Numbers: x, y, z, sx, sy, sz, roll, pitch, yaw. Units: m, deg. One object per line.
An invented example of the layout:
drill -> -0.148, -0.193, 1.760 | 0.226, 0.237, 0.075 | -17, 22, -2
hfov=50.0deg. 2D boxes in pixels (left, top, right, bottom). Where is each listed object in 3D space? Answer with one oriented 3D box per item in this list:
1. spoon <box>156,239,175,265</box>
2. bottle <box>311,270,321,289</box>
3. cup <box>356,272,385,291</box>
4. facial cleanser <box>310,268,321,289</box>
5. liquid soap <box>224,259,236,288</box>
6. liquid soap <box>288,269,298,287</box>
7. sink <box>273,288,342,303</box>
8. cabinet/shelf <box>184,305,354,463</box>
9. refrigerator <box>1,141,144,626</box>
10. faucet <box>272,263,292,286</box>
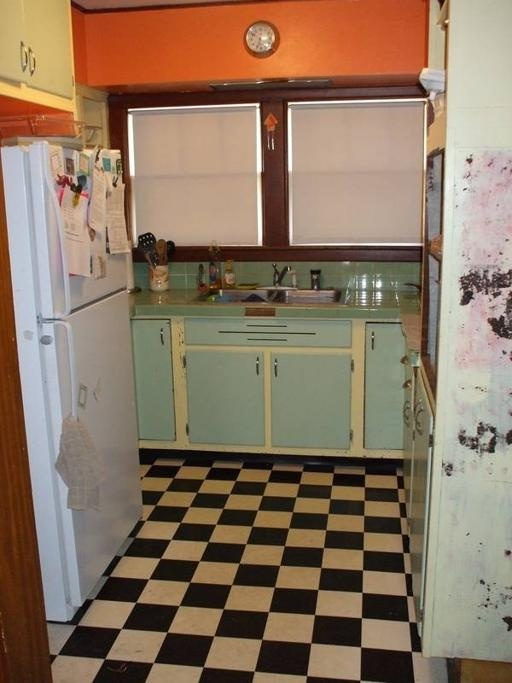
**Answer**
spoon -> -0.643, -0.627, 3.898 | 0.091, 0.175, 0.206 | 1, 10, 11
bottle -> 0.414, -0.424, 3.799 | 0.066, 0.132, 0.041 | -1, 9, -1
cup -> 0.785, -0.408, 3.777 | 0.173, 0.128, 0.103 | 3, 12, 18
facial cleanser -> 0.414, -0.432, 3.794 | 0.094, 0.171, 0.089 | 2, 22, 4
liquid soap -> -0.195, -0.481, 3.903 | 0.087, 0.185, 0.130 | -1, 9, 2
liquid soap -> 0.256, -0.446, 3.868 | 0.080, 0.133, 0.036 | 6, 12, 39
sink -> 0.330, -0.308, 3.766 | 0.495, 0.087, 0.164 | 0, 10, 7
cabinet/shelf -> 0.113, -0.036, 3.632 | 1.219, 1.198, 0.702 | 1, 8, 9
refrigerator -> -0.681, 0.161, 2.117 | 0.267, 1.782, 0.690 | -1, 9, -1
faucet -> 0.170, -0.467, 3.872 | 0.129, 0.151, 0.089 | 4, 11, 28
